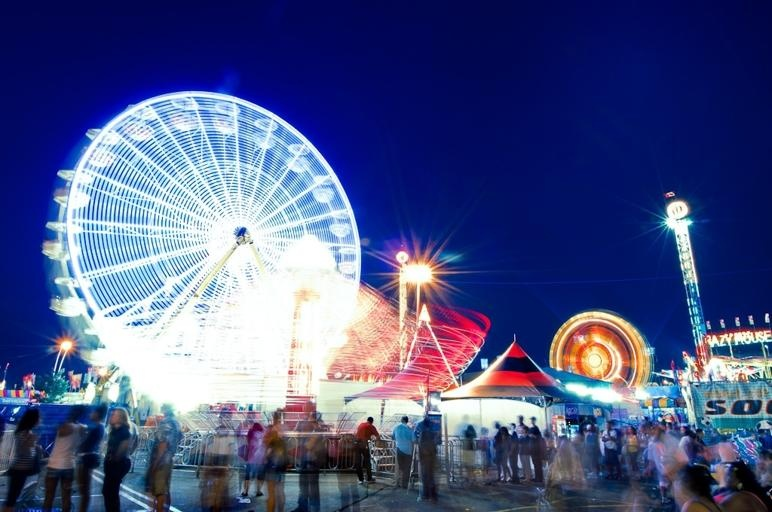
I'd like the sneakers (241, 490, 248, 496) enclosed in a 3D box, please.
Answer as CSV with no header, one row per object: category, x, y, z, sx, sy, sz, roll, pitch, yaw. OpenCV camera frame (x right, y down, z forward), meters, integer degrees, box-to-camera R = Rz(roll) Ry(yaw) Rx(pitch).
sneakers,-4.445,7.489,16.371,0.160,0.108,0.386,8,-21,-19

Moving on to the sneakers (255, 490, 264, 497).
sneakers,-4.150,7.846,17.154,0.275,0.151,0.611,5,-20,-12
